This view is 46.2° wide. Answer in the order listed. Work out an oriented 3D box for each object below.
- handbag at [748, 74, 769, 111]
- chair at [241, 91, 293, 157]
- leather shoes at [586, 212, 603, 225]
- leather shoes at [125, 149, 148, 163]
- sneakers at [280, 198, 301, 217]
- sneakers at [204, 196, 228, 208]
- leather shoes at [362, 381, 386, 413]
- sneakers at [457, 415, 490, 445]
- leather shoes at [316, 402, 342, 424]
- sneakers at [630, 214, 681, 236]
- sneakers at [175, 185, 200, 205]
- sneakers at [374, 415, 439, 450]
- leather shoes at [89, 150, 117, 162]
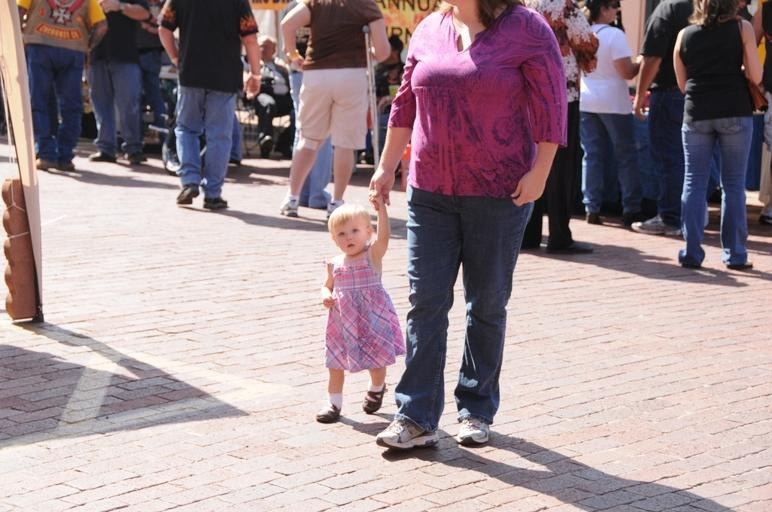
[{"bbox_3d":[3.443,-1.496,8.401,0.095,0.277,0.219,-6,4,0],"label":"handbag"},{"bbox_3d":[-2.026,-2.183,15.413,0.558,0.696,1.772,0,-3,-7],"label":"chair"},{"bbox_3d":[2.458,-0.437,10.659,0.158,0.163,0.153,-3,3,-13],"label":"leather shoes"},{"bbox_3d":[-3.715,-1.470,13.511,0.154,0.129,0.360,10,5,-2],"label":"leather shoes"},{"bbox_3d":[-1.084,-0.539,10.305,0.181,0.195,0.464,0,9,-7],"label":"sneakers"},{"bbox_3d":[-1.978,-0.617,10.495,0.098,0.181,0.255,10,22,29],"label":"sneakers"},{"bbox_3d":[-0.071,0.863,5.612,0.084,0.081,0.230,-2,45,24],"label":"leather shoes"},{"bbox_3d":[0.508,1.011,5.217,0.138,0.114,0.287,-1,-8,8],"label":"sneakers"},{"bbox_3d":[-0.339,0.959,5.469,0.078,0.065,0.163,-3,-9,23],"label":"leather shoes"},{"bbox_3d":[3.012,-0.358,10.208,0.533,0.255,0.204,7,2,7],"label":"sneakers"},{"bbox_3d":[-2.288,-0.701,10.477,0.227,0.262,0.253,2,8,-17],"label":"sneakers"},{"bbox_3d":[0.119,1.028,5.210,0.376,0.178,0.140,3,-4,-25],"label":"sneakers"},{"bbox_3d":[-4.275,-1.487,13.594,0.469,0.191,0.154,6,3,-10],"label":"leather shoes"}]
